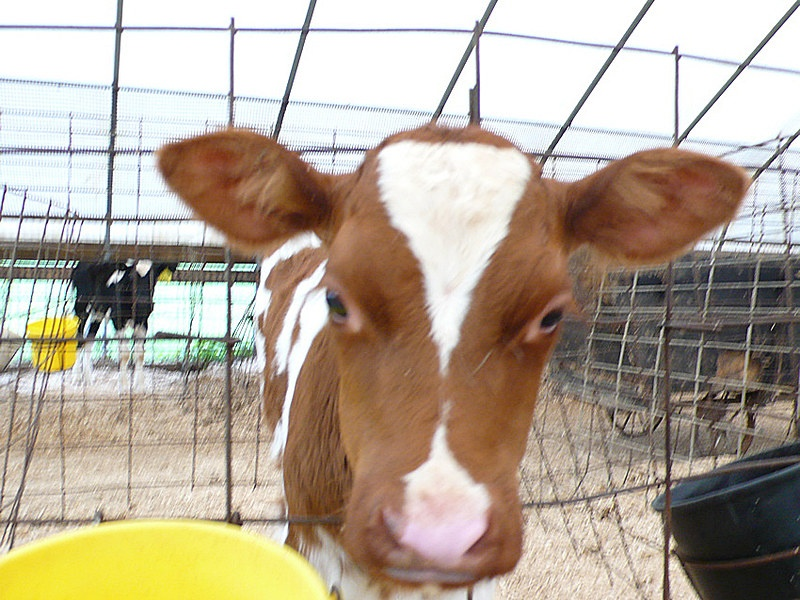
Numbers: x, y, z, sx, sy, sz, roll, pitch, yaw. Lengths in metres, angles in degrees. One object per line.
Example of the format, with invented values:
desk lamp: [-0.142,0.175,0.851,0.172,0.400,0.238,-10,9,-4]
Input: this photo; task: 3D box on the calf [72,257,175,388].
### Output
calf: [-4.567,0.058,14.799,1.431,1.462,0.426,3,-12,15]
